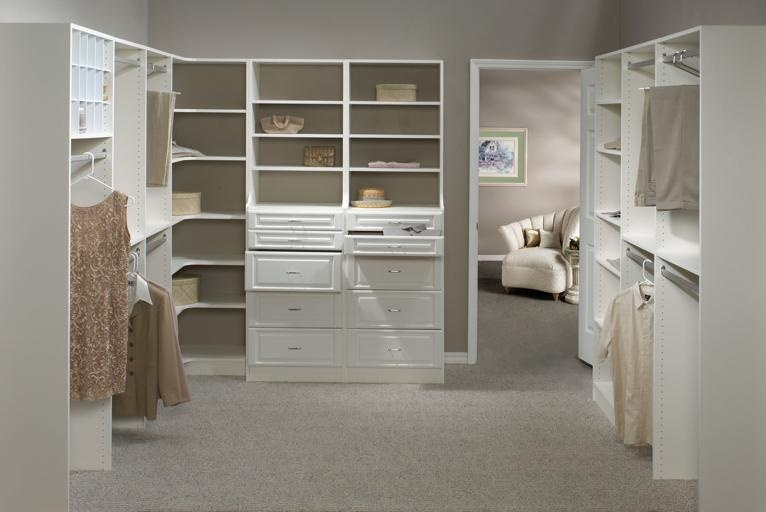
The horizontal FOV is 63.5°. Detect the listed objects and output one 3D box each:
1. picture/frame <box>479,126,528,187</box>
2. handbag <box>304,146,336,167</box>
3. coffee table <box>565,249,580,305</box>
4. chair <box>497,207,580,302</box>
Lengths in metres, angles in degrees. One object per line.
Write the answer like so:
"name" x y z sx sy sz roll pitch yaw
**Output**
"picture/frame" 1.948 -1.671 10.152 1.088 1.015 0.083 0 2 -2
"handbag" -0.548 -0.849 5.313 0.310 0.214 0.166 1 4 -2
"coffee table" 2.332 0.198 7.655 0.167 0.668 0.645 4 13 17
"chair" 2.038 -0.058 8.407 1.151 1.220 1.178 1 1 39
